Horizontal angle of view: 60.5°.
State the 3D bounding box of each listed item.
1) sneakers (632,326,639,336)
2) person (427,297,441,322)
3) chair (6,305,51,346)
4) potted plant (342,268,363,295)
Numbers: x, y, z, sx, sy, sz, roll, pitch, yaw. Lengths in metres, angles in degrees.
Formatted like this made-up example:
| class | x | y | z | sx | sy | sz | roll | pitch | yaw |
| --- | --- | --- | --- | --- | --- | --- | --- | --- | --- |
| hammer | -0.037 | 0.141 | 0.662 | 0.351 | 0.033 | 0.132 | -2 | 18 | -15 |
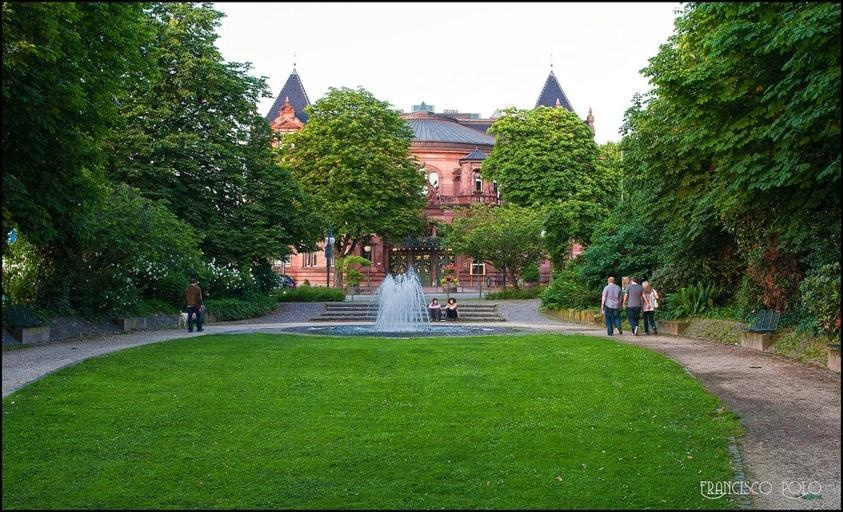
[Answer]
| class | x | y | z | sx | sy | sz | roll | pitch | yaw |
| --- | --- | --- | --- | --- | --- | --- | --- | --- | --- |
| sneakers | 7.804 | 2.782 | 26.393 | 0.150 | 0.378 | 0.162 | -27 | 47 | -19 |
| person | 0.641 | 2.769 | 37.091 | 0.645 | 1.149 | 1.470 | -1 | 9 | 0 |
| chair | -12.649 | 2.273 | 23.092 | 0.542 | 0.849 | 1.313 | -1 | -2 | 8 |
| potted plant | -4.837 | 1.809 | 50.893 | 2.282 | 2.070 | 1.837 | 1 | -7 | -7 |
